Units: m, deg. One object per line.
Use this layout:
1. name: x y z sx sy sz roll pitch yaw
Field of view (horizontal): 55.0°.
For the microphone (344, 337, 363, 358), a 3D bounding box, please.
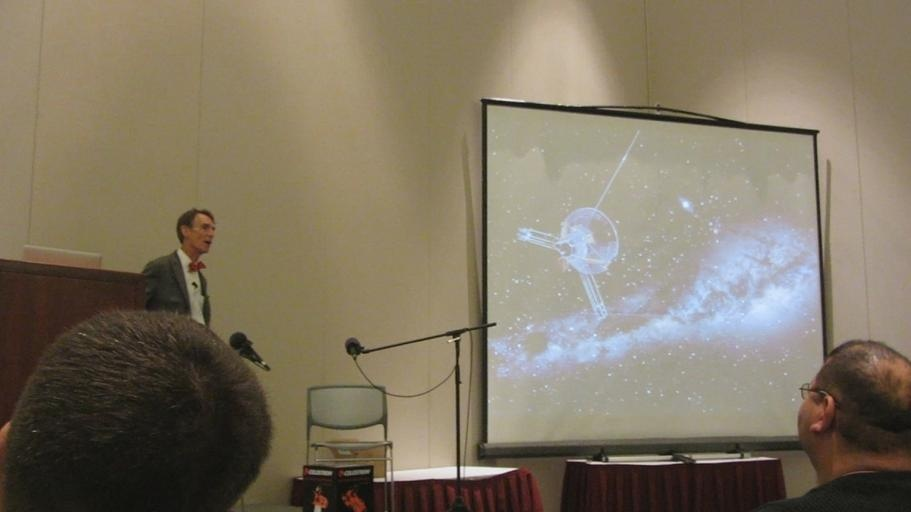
1. microphone: -0.987 0.885 8.420 0.113 0.181 0.174 -31 9 -14
